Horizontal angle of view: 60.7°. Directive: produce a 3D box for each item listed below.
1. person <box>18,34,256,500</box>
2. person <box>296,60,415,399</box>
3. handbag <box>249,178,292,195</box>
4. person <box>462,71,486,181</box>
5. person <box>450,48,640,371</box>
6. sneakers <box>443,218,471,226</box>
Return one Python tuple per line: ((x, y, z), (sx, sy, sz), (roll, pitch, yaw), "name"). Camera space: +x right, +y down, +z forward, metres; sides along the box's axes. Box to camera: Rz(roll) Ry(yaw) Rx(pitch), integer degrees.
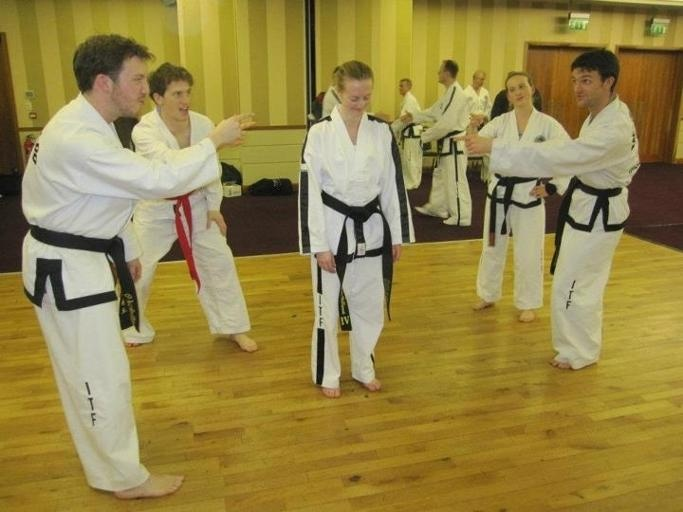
((-0.983, 0.031, 2.520), (0.799, 1.774, 0.690), (18, 21, 31), "person")
((0.058, -0.108, 2.931), (0.555, 1.632, 0.381), (-20, 28, -38), "person")
((-0.956, -0.927, 7.911), (0.400, 0.139, 0.274), (-2, 11, -16), "handbag")
((2.116, -2.046, 8.952), (0.373, 1.175, 0.359), (-18, 41, -7), "person")
((1.215, -0.258, 3.245), (0.641, 1.658, 0.558), (11, 25, 31), "person")
((1.222, -0.368, 6.142), (0.168, 0.078, 0.129), (1, 17, 11), "sneakers")
